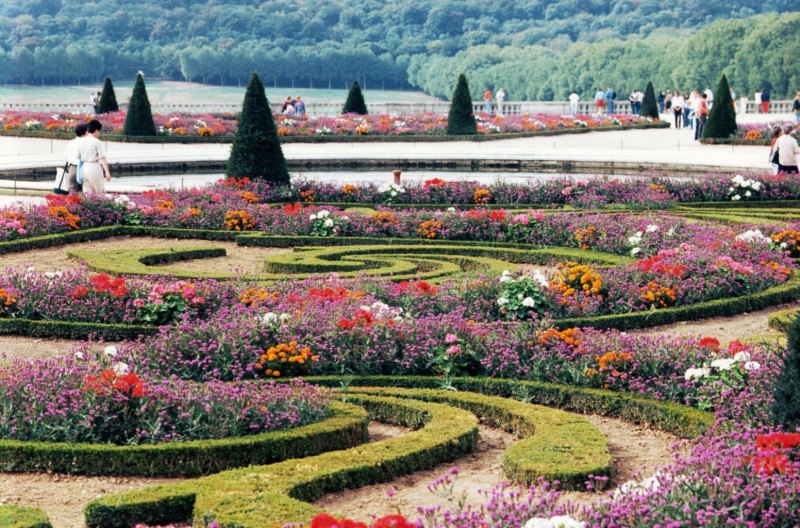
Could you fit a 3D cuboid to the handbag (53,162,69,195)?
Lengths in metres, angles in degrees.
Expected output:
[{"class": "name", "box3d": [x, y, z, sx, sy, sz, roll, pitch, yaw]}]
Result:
[{"class": "handbag", "box3d": [-21.741, -5.431, 135.668, 0.800, 1.932, 1.264, -13, 15, -41]}]
